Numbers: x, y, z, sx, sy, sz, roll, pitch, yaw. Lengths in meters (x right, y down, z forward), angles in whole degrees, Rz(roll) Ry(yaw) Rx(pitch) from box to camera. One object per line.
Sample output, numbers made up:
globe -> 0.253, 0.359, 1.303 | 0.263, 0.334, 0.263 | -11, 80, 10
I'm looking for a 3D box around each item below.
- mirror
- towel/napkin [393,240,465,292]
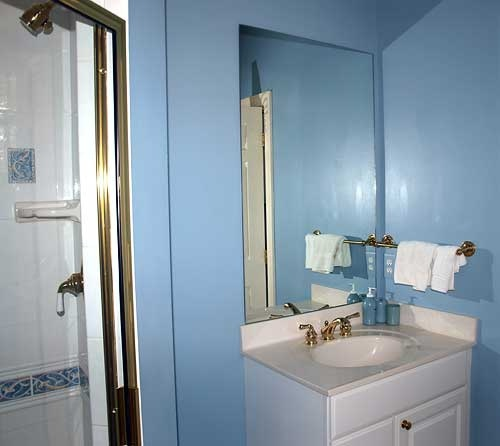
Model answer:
mirror -> 0.360, -0.250, 2.213 | 0.624, 1.440, 0.011 | 13, 48, 23
towel/napkin -> 0.796, 0.193, 1.919 | 0.099, 0.203, 0.307 | -4, 4, -36
